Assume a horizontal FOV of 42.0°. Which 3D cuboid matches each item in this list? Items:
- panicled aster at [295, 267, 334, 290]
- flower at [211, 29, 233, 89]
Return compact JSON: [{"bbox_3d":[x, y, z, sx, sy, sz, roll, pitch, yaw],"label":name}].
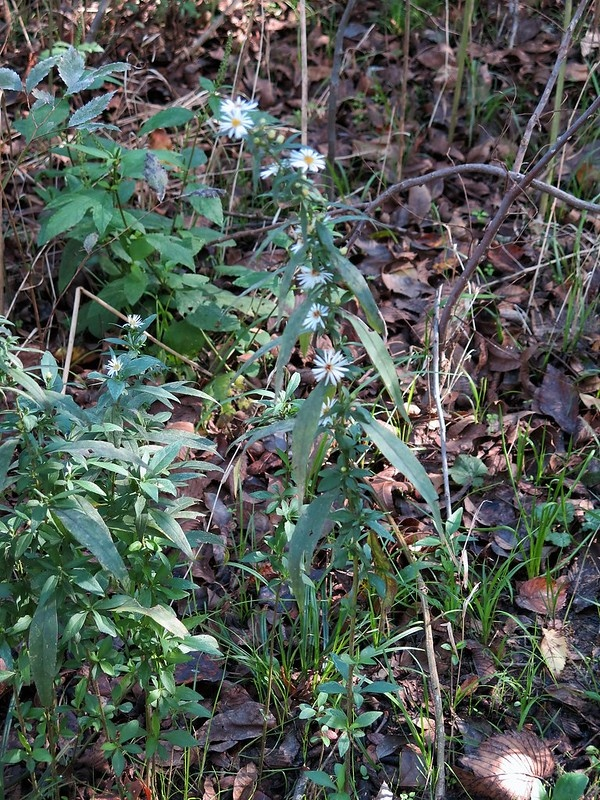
[{"bbox_3d":[0.033,-0.233,1.502,0.017,0.058,0.066,-10,15,-43],"label":"panicled aster"},{"bbox_3d":[-0.254,-1.194,2.756,0.043,0.174,0.038,7,27,-20],"label":"flower"}]
